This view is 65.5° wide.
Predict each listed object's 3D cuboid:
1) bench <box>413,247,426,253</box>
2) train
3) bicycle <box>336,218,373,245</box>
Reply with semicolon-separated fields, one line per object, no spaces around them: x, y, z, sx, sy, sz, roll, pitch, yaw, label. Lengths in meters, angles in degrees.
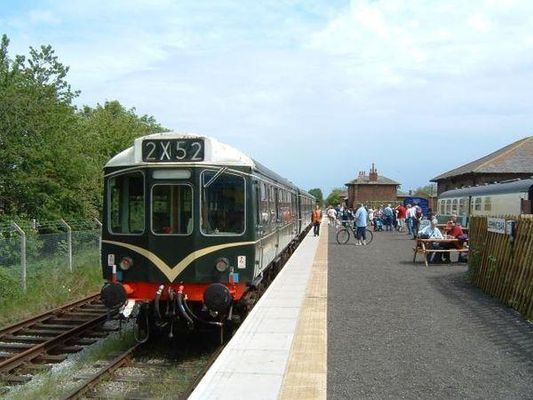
5.591;1.902;15.024;0.320;0.242;0.832;0;1;3;bench
-1.243;0.711;10.636;2.000;2.777;11.452;-1;-1;8;train
5.264;1.873;23.912;2.775;1.541;1.390;2;-2;-2;bicycle
